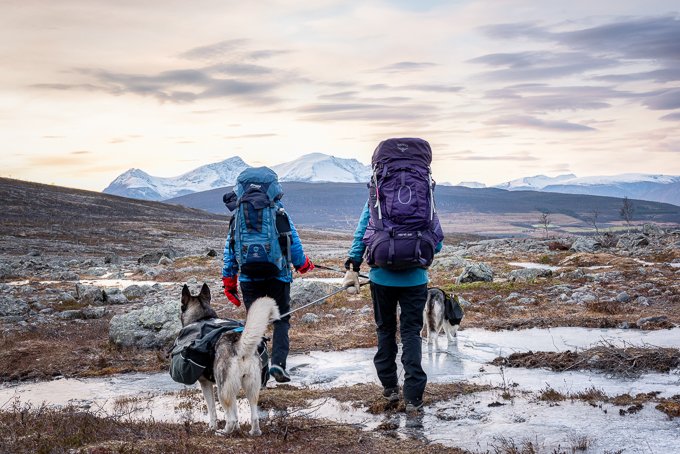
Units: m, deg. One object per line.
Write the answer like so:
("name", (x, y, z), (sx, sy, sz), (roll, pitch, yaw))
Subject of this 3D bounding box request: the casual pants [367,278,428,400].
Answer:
("casual pants", (1.359, 2.249, 12.743), (1.468, 3.111, 1.151), (1, 0, 30))

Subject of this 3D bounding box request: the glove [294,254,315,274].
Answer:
("glove", (-0.959, 0.927, 13.650), (0.496, 0.414, 0.506), (-10, 31, 7))

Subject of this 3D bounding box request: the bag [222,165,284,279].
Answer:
("bag", (-1.928, -0.070, 12.977), (1.483, 2.595, 1.011), (-5, 11, -10))

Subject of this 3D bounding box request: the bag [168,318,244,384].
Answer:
("bag", (-2.995, 2.635, 12.496), (1.631, 0.922, 1.741), (0, 2, 8))
